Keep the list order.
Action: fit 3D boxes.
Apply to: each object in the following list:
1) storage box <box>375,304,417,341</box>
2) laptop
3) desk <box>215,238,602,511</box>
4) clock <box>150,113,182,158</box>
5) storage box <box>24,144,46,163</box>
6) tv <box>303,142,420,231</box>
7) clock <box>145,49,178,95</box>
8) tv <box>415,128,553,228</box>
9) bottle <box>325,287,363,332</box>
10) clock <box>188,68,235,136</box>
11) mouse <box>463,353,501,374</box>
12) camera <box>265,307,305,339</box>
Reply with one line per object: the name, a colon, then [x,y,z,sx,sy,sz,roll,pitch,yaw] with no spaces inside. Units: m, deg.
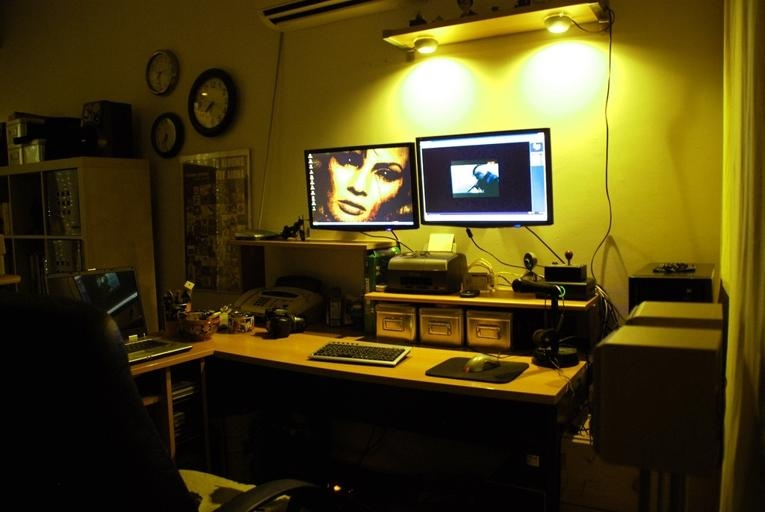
storage box: [0.085,0.378,3.412,0.200,0.149,0.204,3,2,22]
laptop: [-1.297,0.254,3.351,0.522,0.511,0.616,2,4,14]
desk: [0.216,0.519,3.411,2.204,1.495,1.197,0,-2,23]
clock: [-1.662,-0.930,4.669,0.339,0.339,0.044,4,5,32]
storage box: [-2.723,-0.810,4.737,0.178,0.164,0.066,3,6,32]
tv: [-0.104,-0.408,3.587,0.553,0.388,0.057,1,14,25]
clock: [-1.678,-1.392,4.663,0.081,0.326,0.328,0,44,-52]
tv: [0.571,-0.420,3.267,0.568,0.399,0.063,0,13,21]
bottle: [-0.236,0.352,3.805,0.259,0.280,0.205,0,5,2]
clock: [-1.246,-1.112,4.403,0.447,0.478,0.082,3,7,31]
mouse: [0.488,0.510,2.892,0.274,0.054,0.114,-6,8,-42]
camera: [-0.585,0.396,3.558,0.129,0.098,0.217,1,1,29]
